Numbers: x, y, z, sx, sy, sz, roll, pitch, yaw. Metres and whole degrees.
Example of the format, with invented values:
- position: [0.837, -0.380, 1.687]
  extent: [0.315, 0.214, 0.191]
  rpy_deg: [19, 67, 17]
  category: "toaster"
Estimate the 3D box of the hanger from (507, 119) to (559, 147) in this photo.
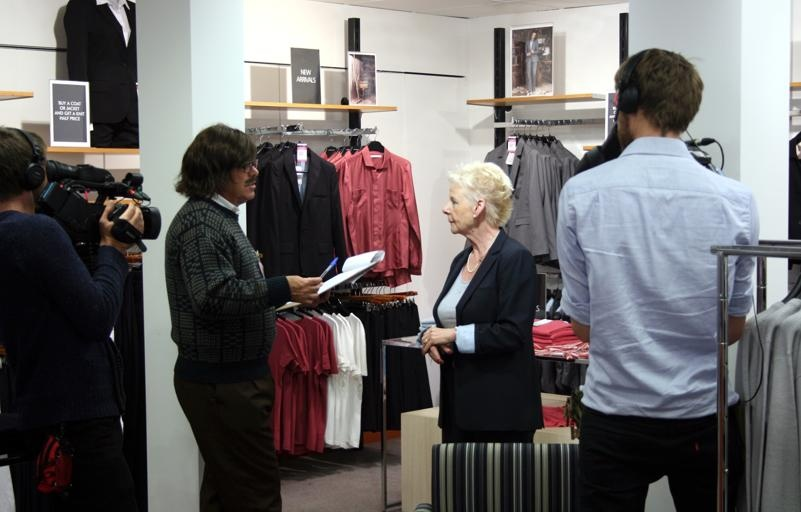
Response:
- position: [1.351, -1.235, 6.557]
  extent: [0.421, 0.157, 0.330]
  rpy_deg: [-2, -2, 41]
  category: "hanger"

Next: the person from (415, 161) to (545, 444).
- position: [0.395, 0.229, 3.167]
  extent: [0.598, 1.396, 0.629]
  rpy_deg: [2, 5, 28]
  category: "person"

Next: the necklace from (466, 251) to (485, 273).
- position: [0.378, 0.038, 3.255]
  extent: [0.038, 0.114, 0.080]
  rpy_deg: [24, -21, -37]
  category: "necklace"
